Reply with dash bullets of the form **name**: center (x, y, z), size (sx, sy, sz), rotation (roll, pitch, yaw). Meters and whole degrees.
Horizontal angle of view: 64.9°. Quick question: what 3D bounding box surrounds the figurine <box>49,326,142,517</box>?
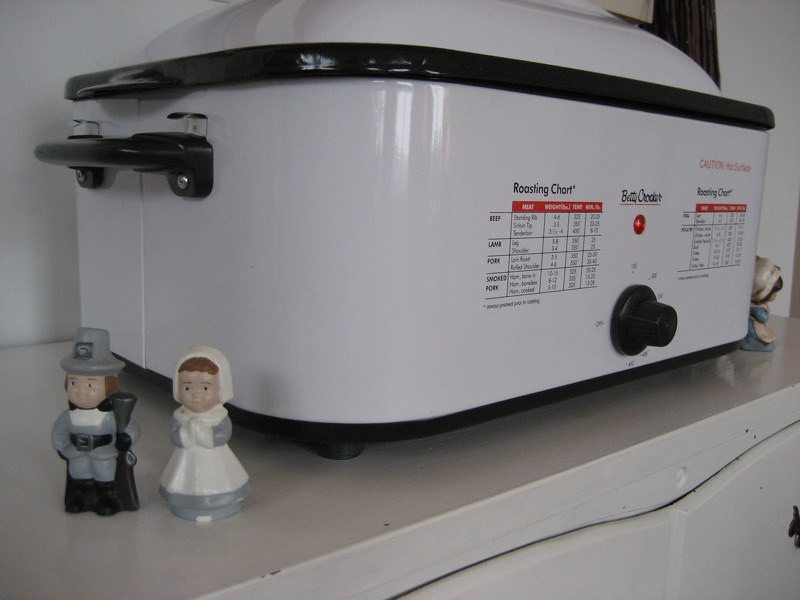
- **figurine**: center (-0.240, 0.092, 0.486), size (0.079, 0.145, 0.037), rotation (4, 12, 20)

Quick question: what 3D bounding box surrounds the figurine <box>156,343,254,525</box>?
- **figurine**: center (-0.152, 0.099, 0.490), size (0.064, 0.131, 0.068), rotation (1, 11, -11)
